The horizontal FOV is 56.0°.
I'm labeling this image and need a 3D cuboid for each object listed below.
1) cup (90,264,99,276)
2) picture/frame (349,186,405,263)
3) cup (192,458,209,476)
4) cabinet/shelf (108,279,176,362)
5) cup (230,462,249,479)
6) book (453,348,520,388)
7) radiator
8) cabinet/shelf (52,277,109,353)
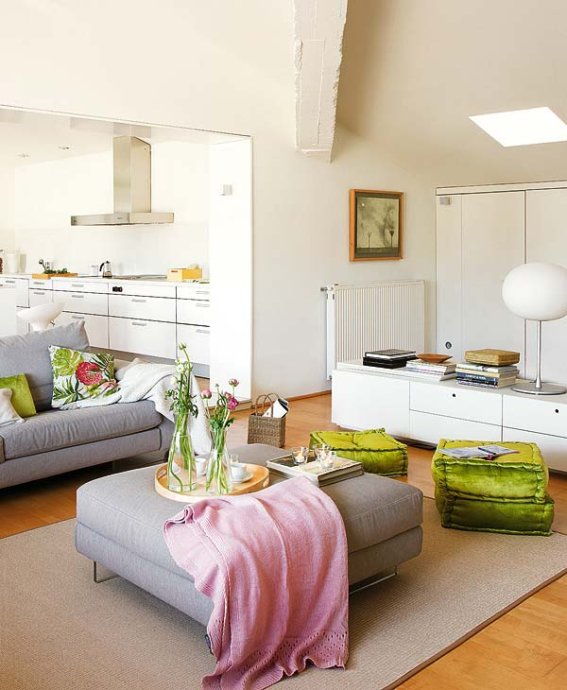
[{"bbox_3d":[-2.769,-1.085,7.814,0.141,0.188,0.317,1,-2,-20],"label":"cup"},{"bbox_3d":[1.067,-1.368,6.083,0.082,0.762,0.845,-11,16,-32],"label":"picture/frame"},{"bbox_3d":[-0.302,0.442,1.964,0.043,0.048,0.066,-5,9,-39],"label":"cup"},{"bbox_3d":[-1.596,-0.335,6.764,1.199,0.869,0.664,7,9,29],"label":"cabinet/shelf"},{"bbox_3d":[-0.161,0.453,1.962,0.050,0.039,0.053,-3,0,0],"label":"cup"},{"bbox_3d":[1.347,0.115,3.557,0.283,0.178,0.278,-3,4,-37],"label":"book"},{"bbox_3d":[0.861,-0.181,5.426,0.119,0.819,1.120,2,5,43],"label":"radiator"},{"bbox_3d":[-2.674,-0.426,7.392,0.967,0.904,0.562,7,7,14],"label":"cabinet/shelf"}]
